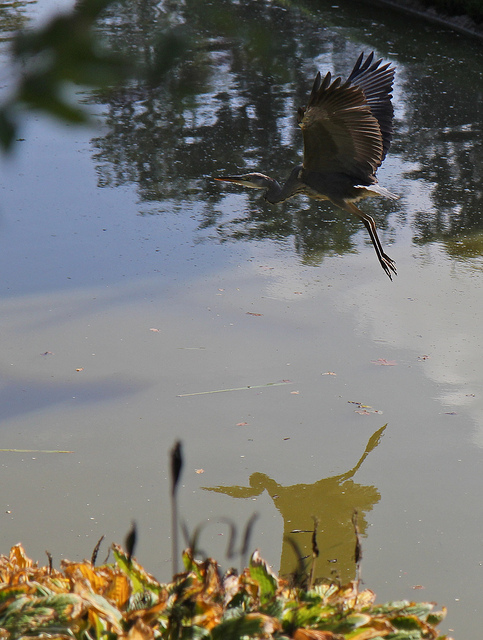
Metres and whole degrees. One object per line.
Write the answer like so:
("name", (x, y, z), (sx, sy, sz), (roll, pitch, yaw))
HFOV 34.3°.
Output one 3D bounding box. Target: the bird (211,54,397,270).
("bird", (0.253, -0.539, 2.923), (0.754, 0.362, 1.046), (-14, -13, 4))
